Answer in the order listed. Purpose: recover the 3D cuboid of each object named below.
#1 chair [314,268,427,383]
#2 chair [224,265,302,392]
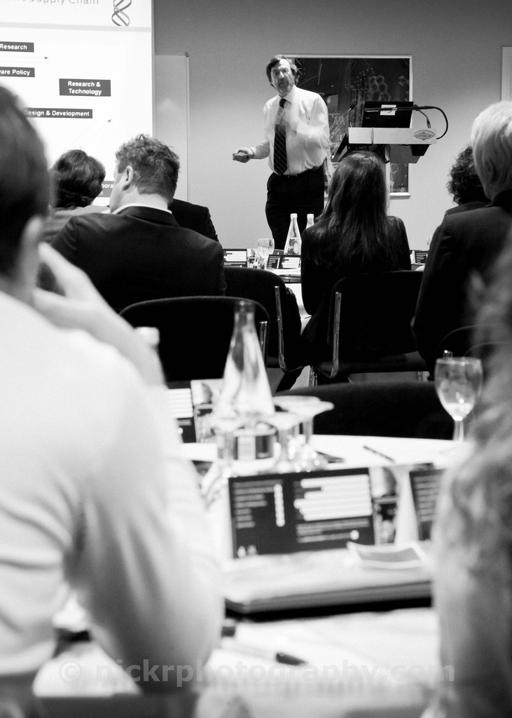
[{"bbox_3d":[0.370,-0.145,2.911,0.251,0.543,0.342,-3,15,-8],"label":"chair"},{"bbox_3d":[0.058,-0.136,3.035,0.267,0.635,0.337,2,17,9],"label":"chair"}]
